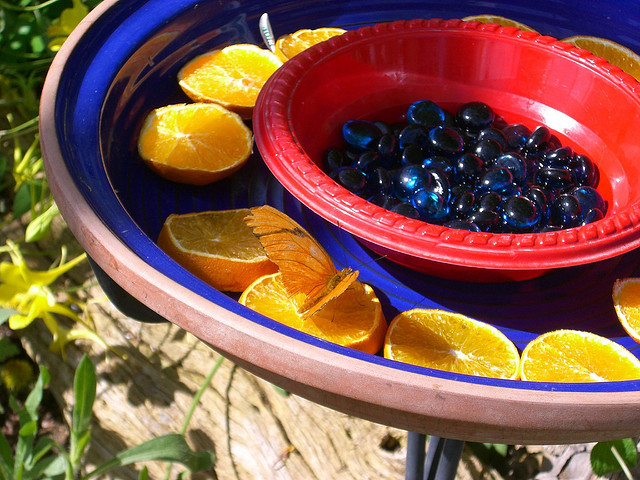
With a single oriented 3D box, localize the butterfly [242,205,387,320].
[{"bbox_3d":[-0.022,0.029,1.252,0.190,0.140,0.216,-34,58,-21],"label":"butterfly"}]
